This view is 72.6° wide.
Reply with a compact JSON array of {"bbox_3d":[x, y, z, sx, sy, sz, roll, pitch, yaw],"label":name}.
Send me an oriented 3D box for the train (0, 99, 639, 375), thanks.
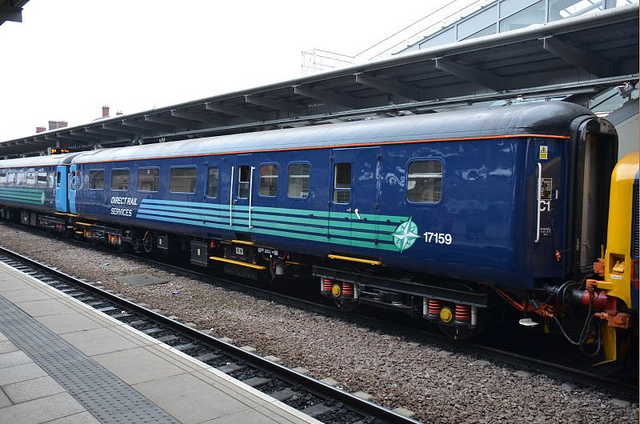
[{"bbox_3d":[-6.400,-0.195,19.582,5.703,5.998,34.039,-4,6,-42],"label":"train"}]
